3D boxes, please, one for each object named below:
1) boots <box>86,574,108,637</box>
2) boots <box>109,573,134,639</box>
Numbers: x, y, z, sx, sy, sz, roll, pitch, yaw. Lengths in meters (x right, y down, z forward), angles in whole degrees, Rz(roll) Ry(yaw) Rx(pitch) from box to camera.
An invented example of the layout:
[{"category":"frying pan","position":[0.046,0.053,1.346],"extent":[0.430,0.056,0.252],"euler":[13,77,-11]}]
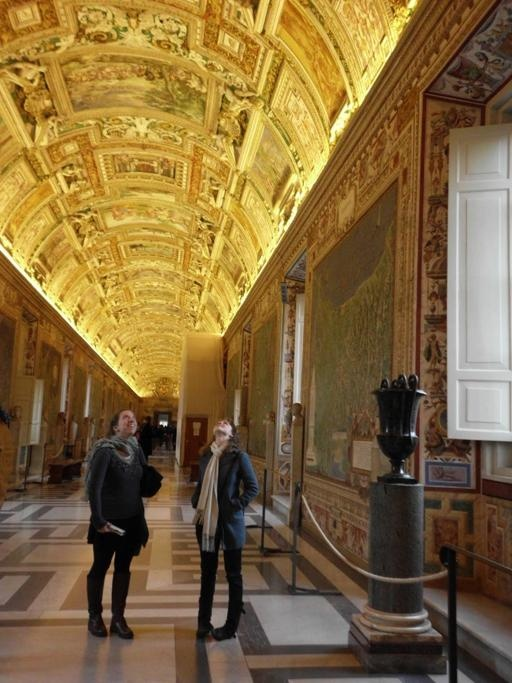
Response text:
[{"category":"boots","position":[-1.086,1.792,3.114],"extent":[0.155,0.430,0.259],"euler":[5,-9,-17]},{"category":"boots","position":[-0.923,1.815,3.159],"extent":[0.159,0.445,0.298],"euler":[4,-9,-16]}]
